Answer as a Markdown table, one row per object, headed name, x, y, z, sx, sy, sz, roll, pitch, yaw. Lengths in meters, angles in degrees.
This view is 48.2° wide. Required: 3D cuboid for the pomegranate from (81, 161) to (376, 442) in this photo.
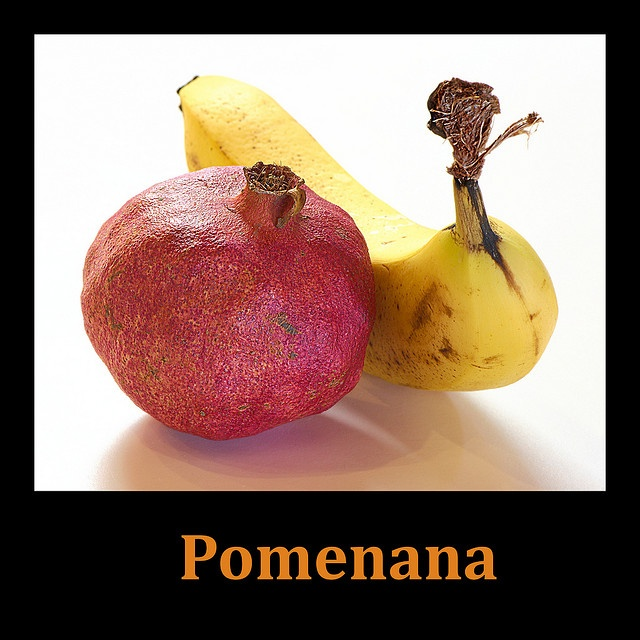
| name | x | y | z | sx | sy | sz | roll | pitch | yaw |
| --- | --- | --- | --- | --- | --- | --- | --- | --- | --- |
| pomegranate | -0.053 | -0.044 | 0.780 | 0.264 | 0.297 | 0.272 | 8 | 21 | 10 |
